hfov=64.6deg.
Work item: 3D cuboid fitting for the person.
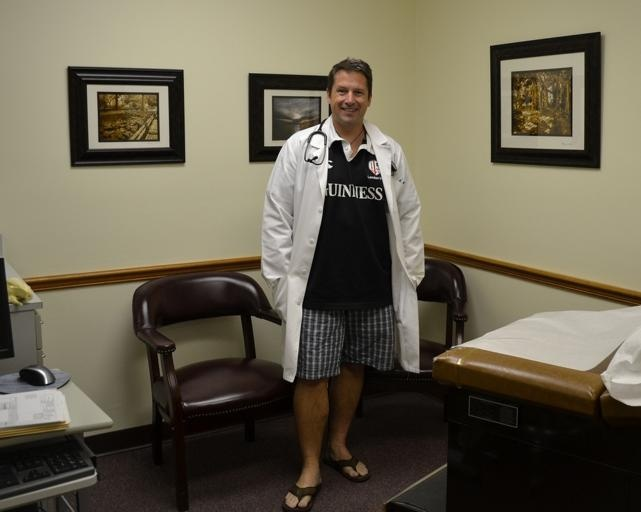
[{"bbox_3d":[0.121,0.114,2.473,0.789,2.040,0.370,-4,8,-27],"label":"person"}]

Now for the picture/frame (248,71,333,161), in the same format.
[{"bbox_3d":[-0.198,-0.781,2.862,0.529,0.653,0.038,-4,11,-24],"label":"picture/frame"}]

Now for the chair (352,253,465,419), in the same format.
[{"bbox_3d":[0.653,0.434,3.071,0.607,1.137,0.725,1,-1,9],"label":"chair"}]

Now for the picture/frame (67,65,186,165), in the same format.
[{"bbox_3d":[-1.059,-0.749,2.688,0.443,0.471,0.036,-5,9,-28],"label":"picture/frame"}]

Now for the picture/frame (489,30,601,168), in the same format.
[{"bbox_3d":[1.187,-0.809,2.628,0.057,0.814,0.664,-6,8,-37],"label":"picture/frame"}]
